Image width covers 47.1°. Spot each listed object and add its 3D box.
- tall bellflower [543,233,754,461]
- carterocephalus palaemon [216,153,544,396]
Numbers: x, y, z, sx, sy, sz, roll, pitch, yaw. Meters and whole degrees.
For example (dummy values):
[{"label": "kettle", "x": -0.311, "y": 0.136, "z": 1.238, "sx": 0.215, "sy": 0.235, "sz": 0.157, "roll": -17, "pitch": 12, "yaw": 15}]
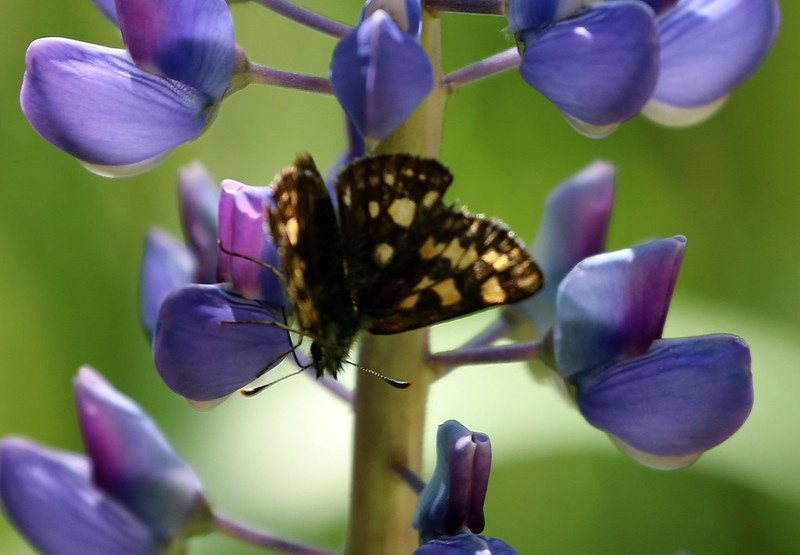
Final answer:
[{"label": "tall bellflower", "x": 0.226, "y": 0.063, "z": 0.829, "sx": 0.168, "sy": 0.158, "sz": 0.105, "roll": -8, "pitch": -32, "yaw": 12}, {"label": "carterocephalus palaemon", "x": 0.004, "y": -0.017, "z": 0.788, "sx": 0.230, "sy": 0.139, "sz": 0.132, "roll": -6, "pitch": -32, "yaw": 9}]
